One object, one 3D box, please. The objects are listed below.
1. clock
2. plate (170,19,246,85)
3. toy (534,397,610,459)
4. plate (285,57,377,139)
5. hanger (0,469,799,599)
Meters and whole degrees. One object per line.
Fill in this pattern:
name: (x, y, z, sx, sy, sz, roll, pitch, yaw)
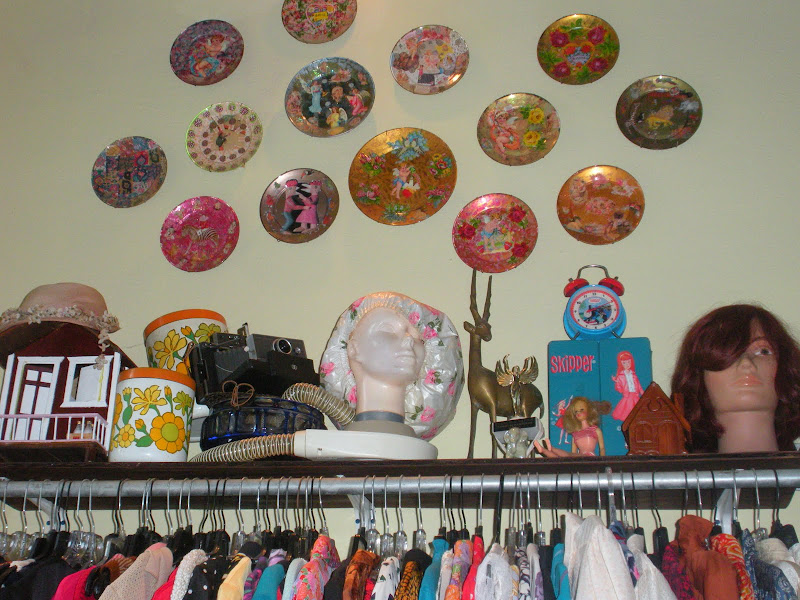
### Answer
clock: (0.521, 0.014, 2.152, 0.156, 0.247, 0.098, -1, -33, 9)
plate: (-0.656, -0.775, 2.688, 0.251, 0.055, 0.269, -14, -18, 18)
toy: (0.416, 0.319, 1.936, 0.140, 0.185, 0.158, -7, -2, 26)
plate: (-0.162, -0.583, 2.600, 0.074, 0.269, 0.270, 46, -28, -8)
hanger: (-0.039, 0.498, 1.734, 1.687, 0.273, 0.358, 0, -23, -1)
